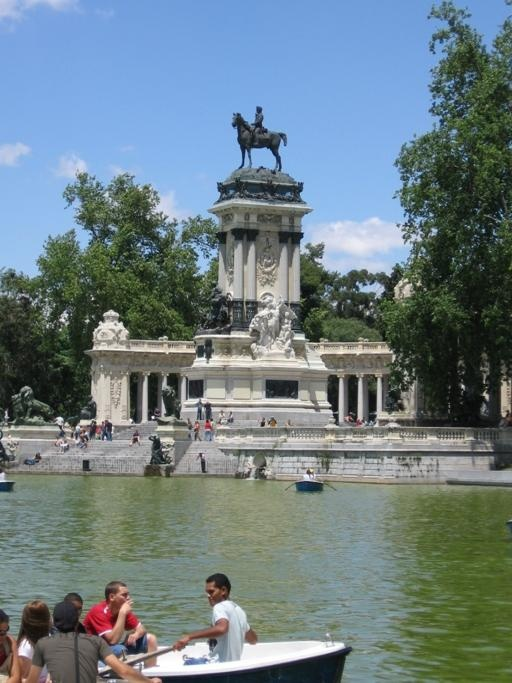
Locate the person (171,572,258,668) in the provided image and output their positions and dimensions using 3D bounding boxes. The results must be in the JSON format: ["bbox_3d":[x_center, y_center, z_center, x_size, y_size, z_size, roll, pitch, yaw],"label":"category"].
[{"bbox_3d":[-0.373,2.827,13.414,0.716,1.426,0.978,4,-25,0],"label":"person"}]

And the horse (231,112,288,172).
[{"bbox_3d":[0.178,-9.390,66.489,2.906,2.545,0.742,5,-5,-22],"label":"horse"}]

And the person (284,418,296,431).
[{"bbox_3d":[1.334,3.227,54.230,0.321,0.782,0.251,-2,-18,-2],"label":"person"}]

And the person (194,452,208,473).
[{"bbox_3d":[-1.885,4.388,50.482,0.320,0.759,1.139,1,-6,-4],"label":"person"}]

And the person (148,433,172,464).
[{"bbox_3d":[-3.534,3.943,50.798,0.903,1.116,1.095,-3,-7,34],"label":"person"}]

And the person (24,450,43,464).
[{"bbox_3d":[-8.511,4.549,53.998,0.656,0.490,1.099,1,-6,-10],"label":"person"}]

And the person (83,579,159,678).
[{"bbox_3d":[-1.280,2.774,13.288,0.733,0.987,0.537,-5,3,22],"label":"person"}]

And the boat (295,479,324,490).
[{"bbox_3d":[1.558,4.229,41.000,0.728,0.331,0.599,0,-6,4],"label":"boat"}]
